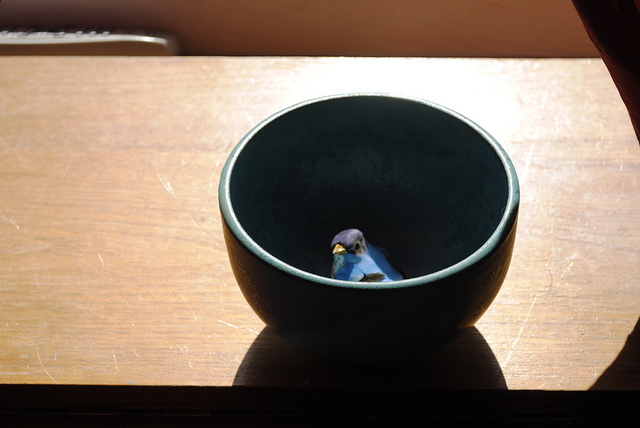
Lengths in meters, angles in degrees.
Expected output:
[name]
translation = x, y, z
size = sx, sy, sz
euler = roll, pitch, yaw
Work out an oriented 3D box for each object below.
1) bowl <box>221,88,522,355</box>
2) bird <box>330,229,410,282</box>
[bowl]
translation = 0.060, 0.012, 0.805
size = 0.341, 0.232, 0.273
euler = 9, 36, 15
[bird]
translation = 0.051, 0.058, 0.824
size = 0.071, 0.048, 0.074
euler = -2, 34, -1
